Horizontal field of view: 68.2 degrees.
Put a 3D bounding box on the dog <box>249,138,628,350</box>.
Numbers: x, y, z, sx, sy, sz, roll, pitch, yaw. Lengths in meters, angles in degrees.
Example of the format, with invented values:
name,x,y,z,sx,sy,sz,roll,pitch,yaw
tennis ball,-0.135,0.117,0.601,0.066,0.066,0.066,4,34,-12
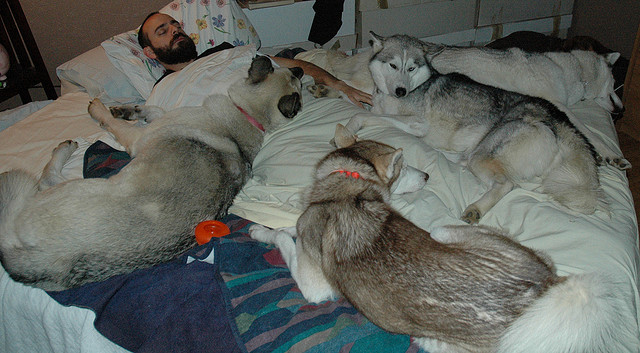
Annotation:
name,x,y,z,sx,sy,sz,roll,pitch,yaw
dog,0.878,1.025,4.738,2.963,0.984,1.637,30,60,18

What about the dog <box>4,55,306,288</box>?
name,x,y,z,sx,sy,sz,roll,pitch,yaw
dog,-1.702,0.150,5.201,3.077,1.180,1.679,-30,79,-38

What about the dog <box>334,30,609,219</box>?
name,x,y,z,sx,sy,sz,roll,pitch,yaw
dog,1.821,-0.479,5.466,2.878,1.415,1.706,20,58,25

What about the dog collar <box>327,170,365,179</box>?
name,x,y,z,sx,sy,sz,roll,pitch,yaw
dog collar,0.257,-0.025,4.596,0.368,0.104,0.066,11,85,4
